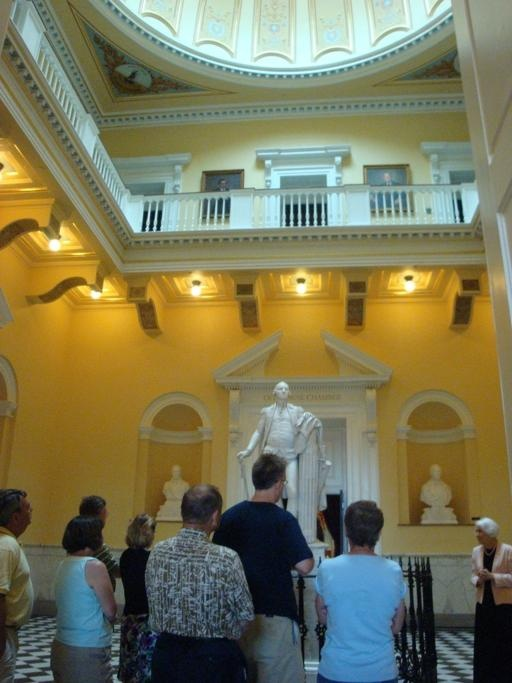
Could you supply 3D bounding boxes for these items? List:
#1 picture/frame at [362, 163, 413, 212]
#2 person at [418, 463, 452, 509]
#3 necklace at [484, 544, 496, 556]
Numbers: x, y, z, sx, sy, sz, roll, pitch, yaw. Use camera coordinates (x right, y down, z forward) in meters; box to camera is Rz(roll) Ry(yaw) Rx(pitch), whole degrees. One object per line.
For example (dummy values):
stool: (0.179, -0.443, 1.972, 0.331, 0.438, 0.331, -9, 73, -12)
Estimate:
picture/frame: (2.522, -2.871, 9.642, 0.850, 1.051, 0.047, 0, -13, 4)
person: (3.175, 2.580, 8.966, 0.516, 0.727, 0.484, -4, -18, 18)
necklace: (1.949, 1.753, 4.208, 0.063, 0.072, 0.085, -4, -11, 12)
